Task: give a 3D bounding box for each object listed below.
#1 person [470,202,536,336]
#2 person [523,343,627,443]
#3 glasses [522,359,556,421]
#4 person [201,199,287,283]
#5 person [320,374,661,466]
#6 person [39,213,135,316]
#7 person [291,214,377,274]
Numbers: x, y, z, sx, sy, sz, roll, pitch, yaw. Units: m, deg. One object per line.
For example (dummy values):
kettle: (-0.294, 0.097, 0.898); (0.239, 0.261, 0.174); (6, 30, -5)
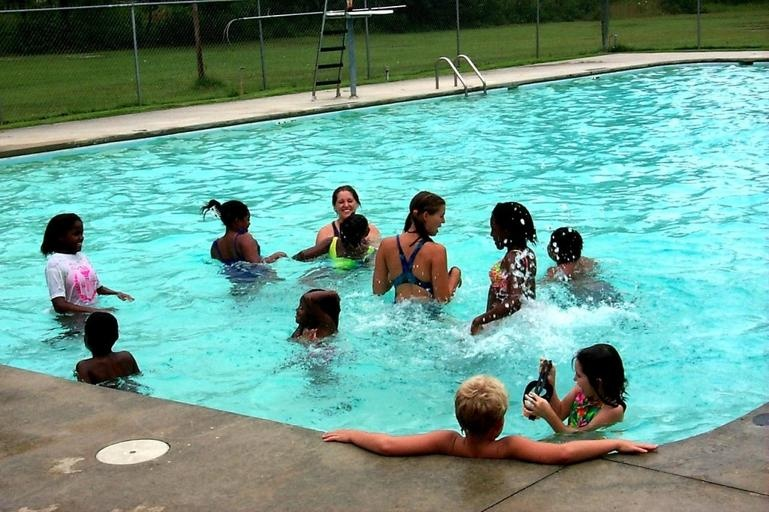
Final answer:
person: (1.088, 0.094, 6.156); (0.570, 1.210, 0.459); (0, 15, 14)
person: (1.459, 0.939, 4.830); (0.900, 0.777, 0.488); (0, 15, 1)
glasses: (1.118, 0.931, 4.808); (0.239, 0.446, 0.125); (23, 2, 6)
person: (-1.701, -0.217, 7.787); (0.809, 0.883, 0.653); (-3, 14, -1)
person: (0.600, 1.032, 4.186); (2.155, 0.453, 0.365); (-1, 3, 12)
person: (-3.162, 0.088, 6.675); (0.424, 0.991, 0.318); (-8, 16, -17)
person: (-0.593, -0.188, 7.740); (0.858, 0.625, 0.336); (1, 15, 14)
